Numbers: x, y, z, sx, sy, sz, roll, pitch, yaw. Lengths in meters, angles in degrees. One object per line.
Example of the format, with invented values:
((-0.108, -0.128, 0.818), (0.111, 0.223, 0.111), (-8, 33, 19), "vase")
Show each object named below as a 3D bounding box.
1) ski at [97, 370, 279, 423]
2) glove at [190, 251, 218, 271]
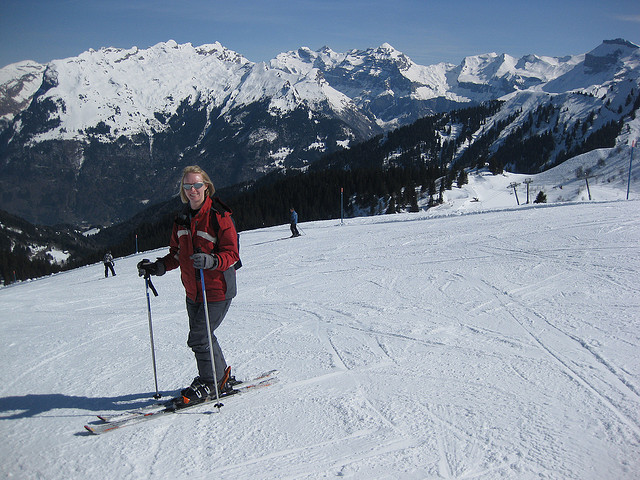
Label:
((-2.425, 2.968, 11.198), (2.419, 0.152, 0.273), (-16, 19, -30), "ski")
((-2.055, 0.350, 10.500), (0.357, 0.301, 0.201), (9, 33, 19), "glove")
